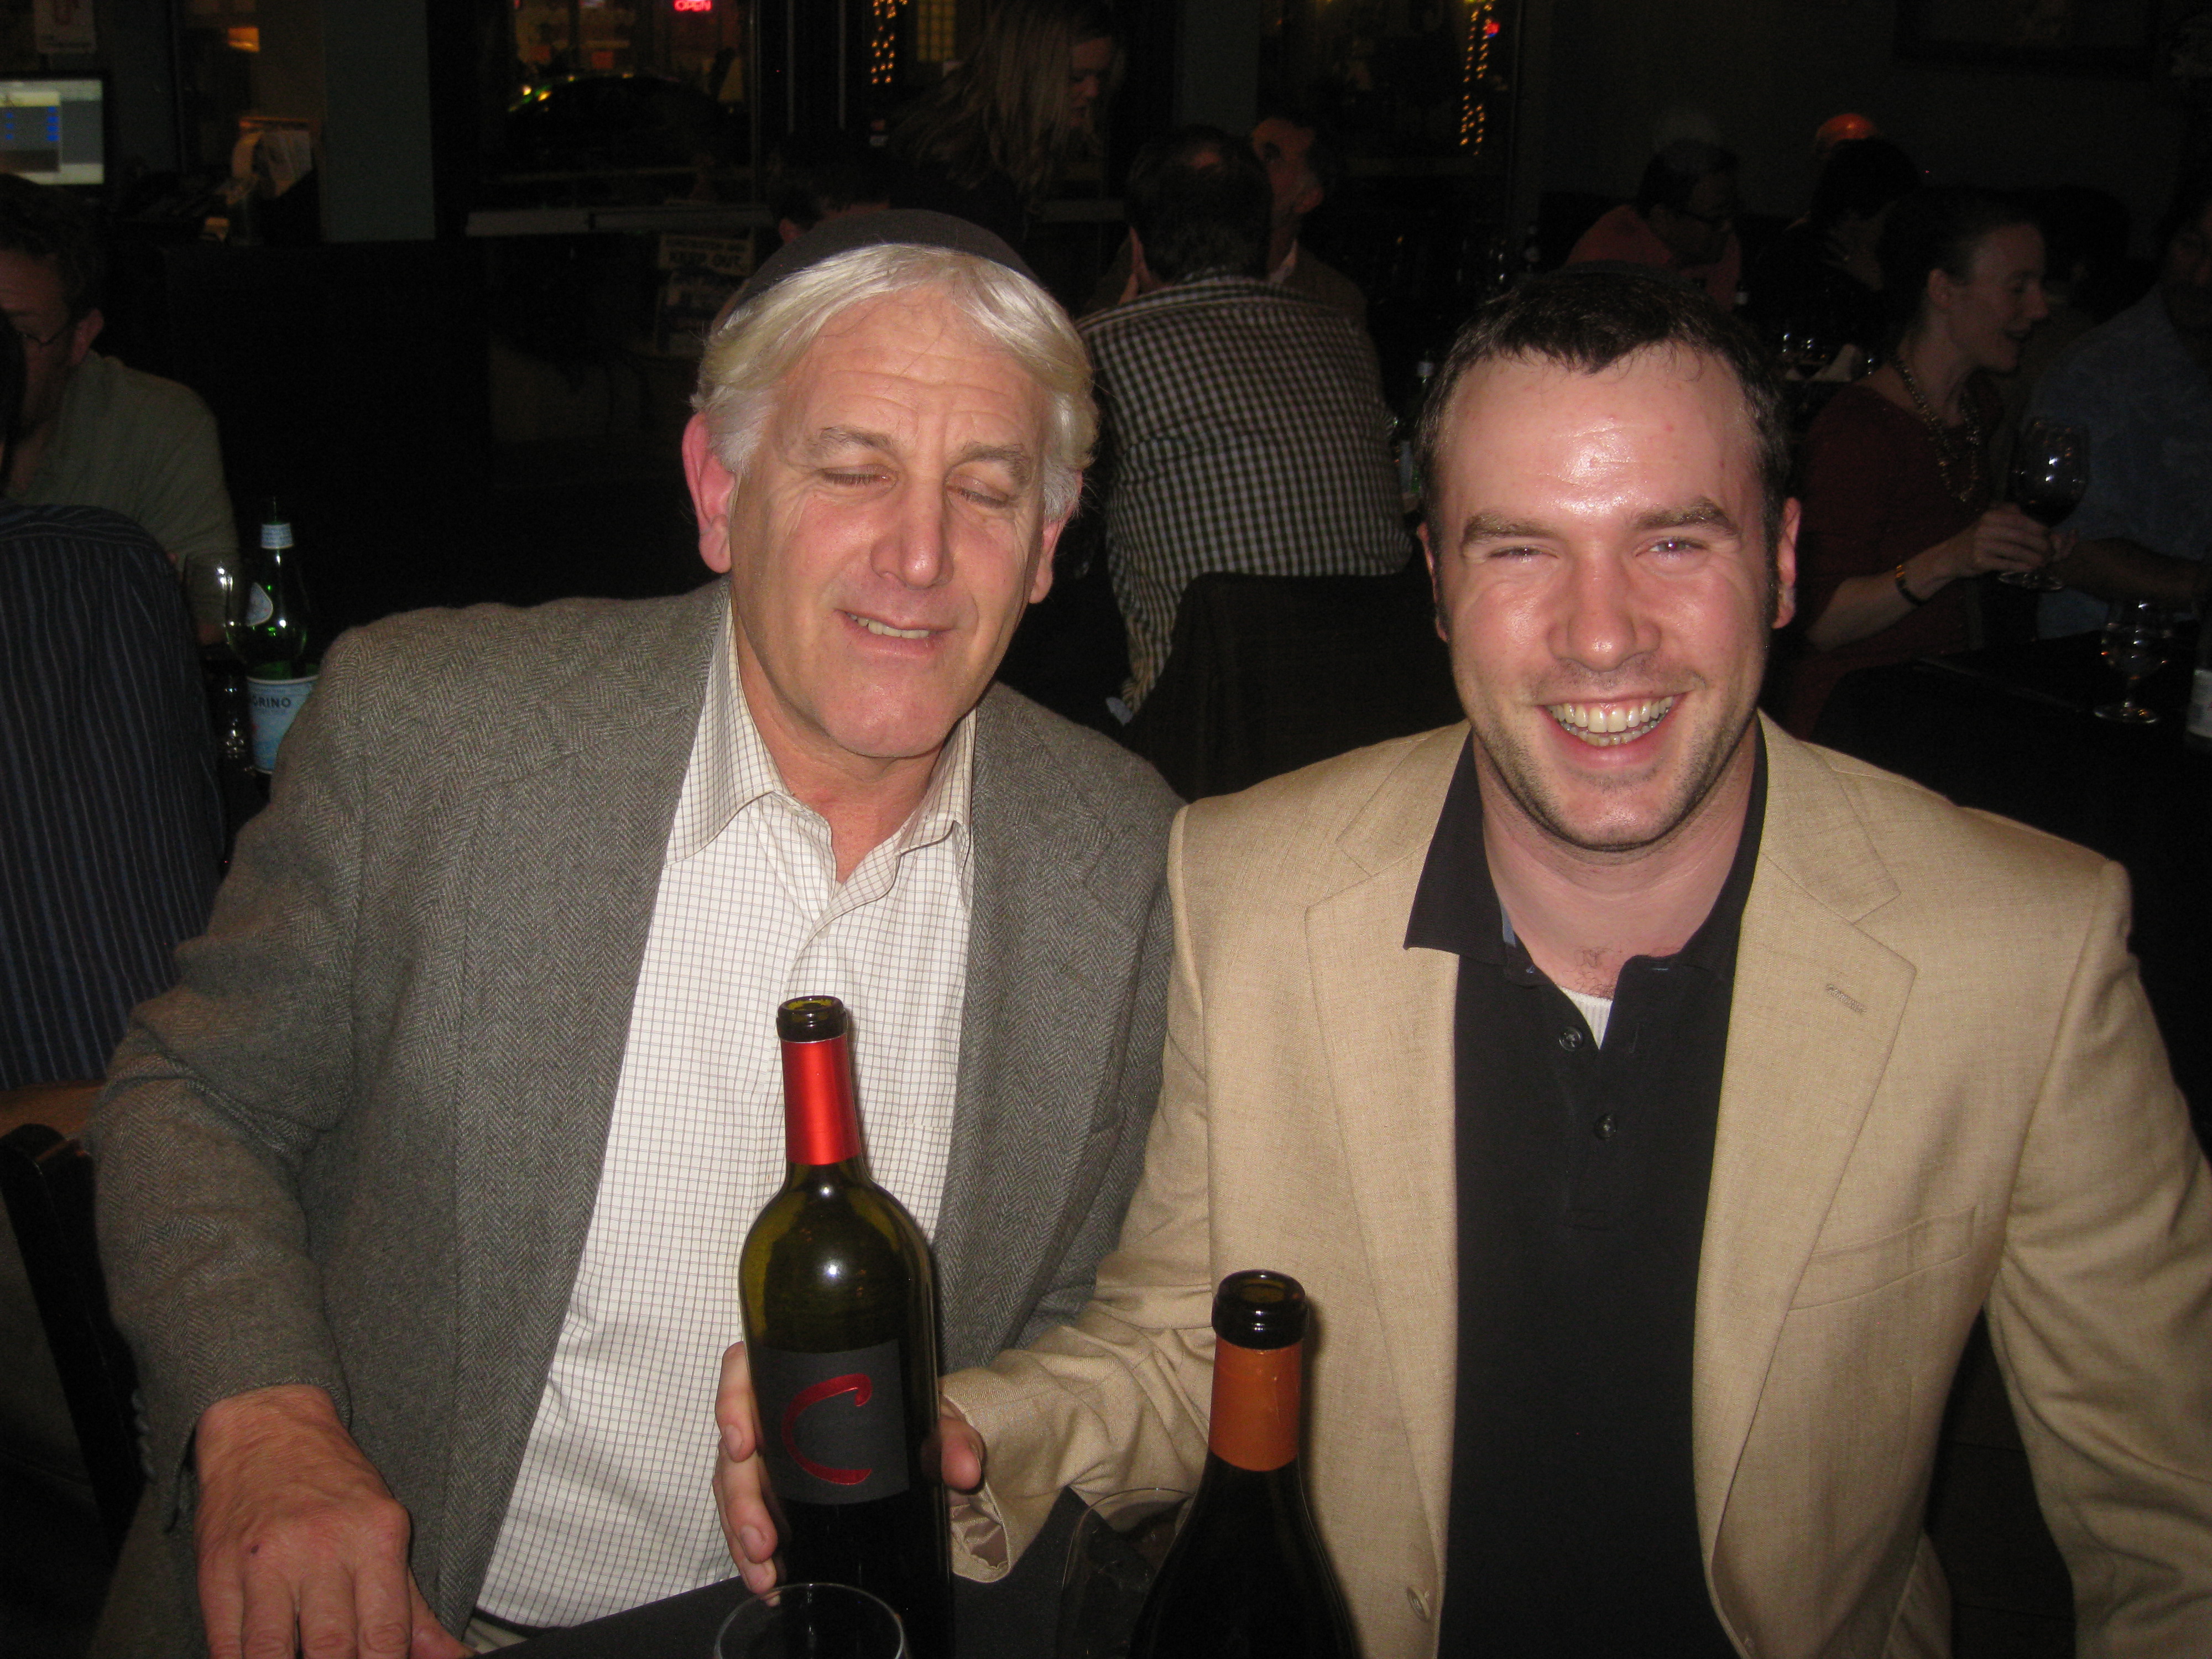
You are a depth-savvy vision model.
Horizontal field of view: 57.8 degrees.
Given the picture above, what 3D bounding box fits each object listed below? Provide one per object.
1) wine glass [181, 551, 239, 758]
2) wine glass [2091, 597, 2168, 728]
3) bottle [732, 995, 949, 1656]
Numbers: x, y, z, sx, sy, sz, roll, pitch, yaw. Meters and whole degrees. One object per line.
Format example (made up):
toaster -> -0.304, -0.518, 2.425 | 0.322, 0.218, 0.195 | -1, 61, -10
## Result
wine glass -> -1.503, -0.300, 3.435 | 0.102, 0.317, 0.105 | 6, 8, 35
wine glass -> 2.004, -0.351, 3.910 | 0.135, 0.252, 0.133 | -10, 20, -43
bottle -> -0.220, 0.397, 1.731 | 0.180, 0.572, 0.426 | 0, 12, -10
